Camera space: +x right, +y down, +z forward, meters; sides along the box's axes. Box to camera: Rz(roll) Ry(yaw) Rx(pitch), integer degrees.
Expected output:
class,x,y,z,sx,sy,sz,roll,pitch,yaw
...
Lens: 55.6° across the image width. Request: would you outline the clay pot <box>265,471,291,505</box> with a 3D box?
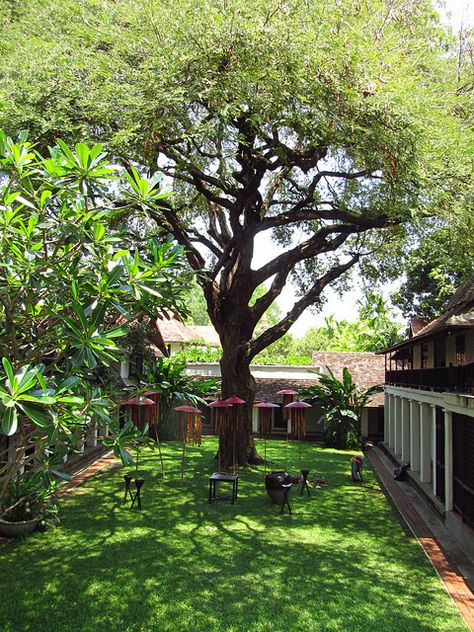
class,x,y,z,sx,sy,sz,roll,pitch,yaw
clay pot,1.089,5.007,13.068,0.887,0.906,0.864,-1,4,0
